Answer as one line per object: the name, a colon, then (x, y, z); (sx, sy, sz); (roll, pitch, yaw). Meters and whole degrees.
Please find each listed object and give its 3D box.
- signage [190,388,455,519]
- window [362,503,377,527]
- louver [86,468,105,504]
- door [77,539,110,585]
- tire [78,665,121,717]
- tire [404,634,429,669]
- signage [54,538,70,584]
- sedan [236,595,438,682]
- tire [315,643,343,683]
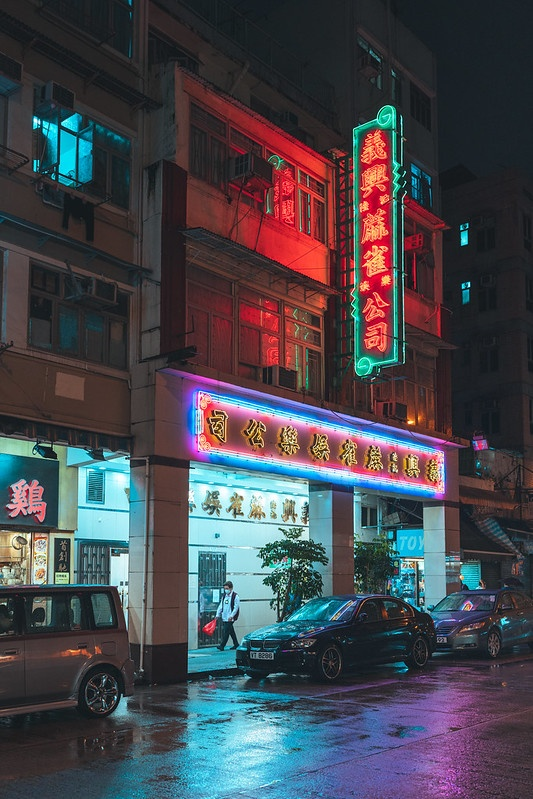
signage: (1.424, 1.146, 19.652); (7.410, 1.357, 0.146); (14, -18, -38)
window: (3.185, 3.616, 28.037); (0.068, 0.723, 0.721); (-11, -13, 34)
louver: (-3.431, 1.725, 17.685); (0.051, 0.689, 0.620); (-5, -12, 25)
door: (-3.417, 3.168, 17.346); (0.134, 1.159, 0.983); (-7, -9, 33)
tire: (-2.020, 3.465, 10.622); (0.205, 0.550, 0.551); (-10, -26, 32)
tire: (2.667, 4.501, 16.000); (0.204, 0.645, 0.643); (-10, -17, 41)
signage: (-3.785, 2.962, 16.446); (0.160, 0.792, 0.463); (-7, -11, 23)
sedan: (1.243, 4.127, 15.621); (1.714, 1.342, 3.983); (-11, -14, 39)
tire: (0.962, 4.174, 14.150); (0.198, 0.573, 0.709); (-9, -12, 34)
